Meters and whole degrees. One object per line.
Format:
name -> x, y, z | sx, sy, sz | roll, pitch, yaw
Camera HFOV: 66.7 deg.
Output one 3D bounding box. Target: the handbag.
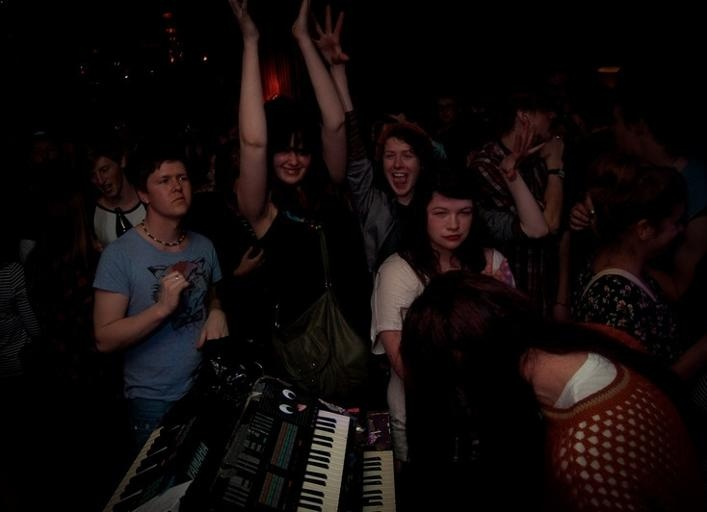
handbag -> -0.188, 0.518, 3.205 | 0.490, 0.595, 0.249 | -30, 1, 0
